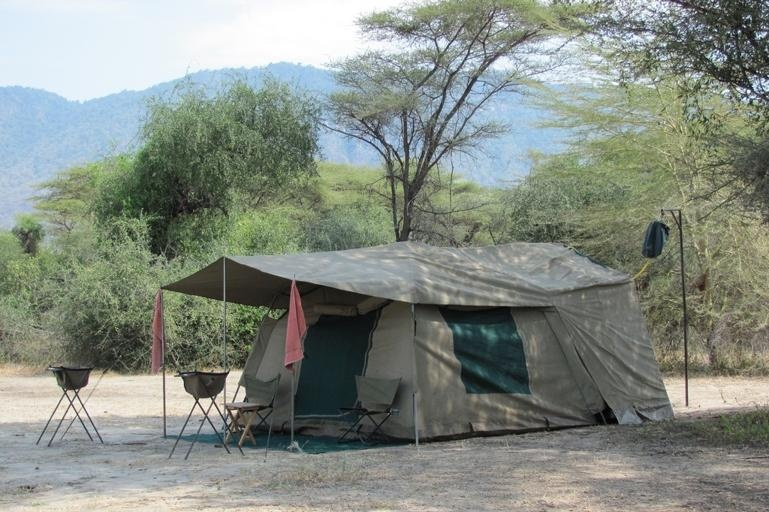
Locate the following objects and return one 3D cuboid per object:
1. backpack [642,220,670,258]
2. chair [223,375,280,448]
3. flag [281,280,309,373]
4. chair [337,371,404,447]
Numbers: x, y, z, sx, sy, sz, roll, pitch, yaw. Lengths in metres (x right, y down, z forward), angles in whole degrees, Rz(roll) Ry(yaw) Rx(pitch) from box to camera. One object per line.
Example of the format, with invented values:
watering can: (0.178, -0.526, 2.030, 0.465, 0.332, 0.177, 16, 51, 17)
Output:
backpack: (6.168, -0.367, 22.482, 0.458, 0.918, 0.643, 10, 3, 15)
chair: (-2.840, 3.183, 20.081, 1.076, 1.355, 1.172, 3, -2, -21)
flag: (-1.731, 1.319, 18.901, 0.338, 1.713, 0.382, 0, -6, -7)
chair: (-0.387, 3.026, 19.245, 1.024, 1.271, 0.960, 6, -3, -43)
